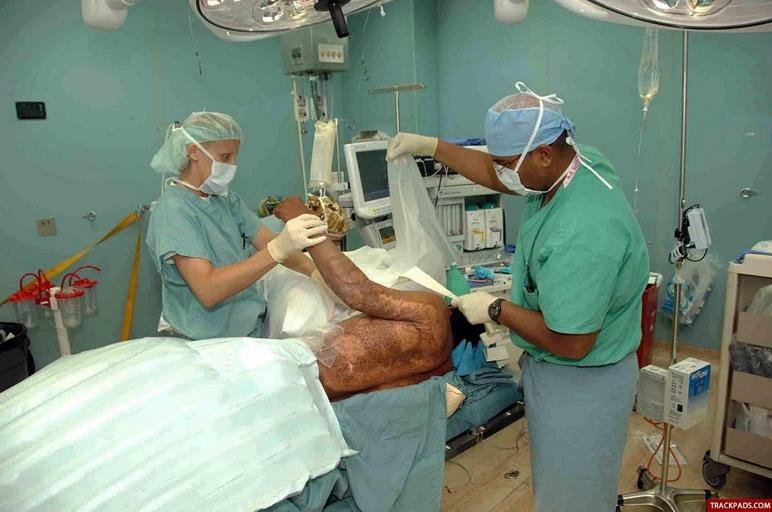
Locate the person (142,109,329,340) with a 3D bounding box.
[{"bbox_3d":[-0.700,-0.090,2.731,0.659,1.282,0.681,-11,19,-44],"label":"person"}]

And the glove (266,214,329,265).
[{"bbox_3d":[-0.402,-0.069,2.563,0.265,0.172,0.073,-28,-10,-6],"label":"glove"}]

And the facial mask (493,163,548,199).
[{"bbox_3d":[0.554,-0.311,2.435,0.180,0.131,0.128,-8,-17,9],"label":"facial mask"}]

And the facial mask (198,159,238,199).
[{"bbox_3d":[-0.779,-0.346,2.660,0.157,0.108,0.134,19,22,5],"label":"facial mask"}]

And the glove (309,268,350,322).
[{"bbox_3d":[-0.263,0.211,2.792,0.157,0.216,0.215,-12,54,-9],"label":"glove"}]
